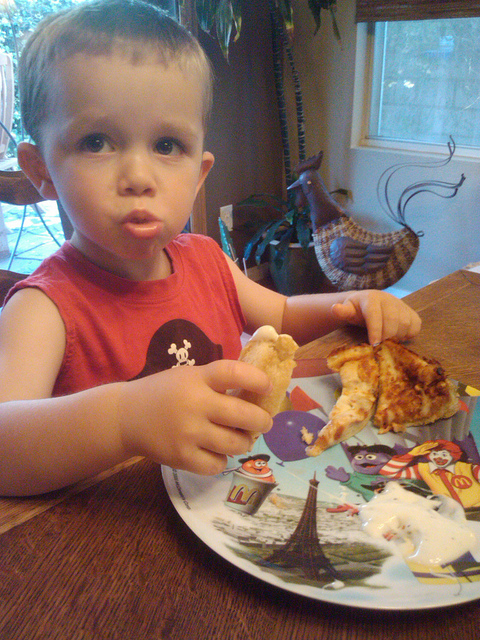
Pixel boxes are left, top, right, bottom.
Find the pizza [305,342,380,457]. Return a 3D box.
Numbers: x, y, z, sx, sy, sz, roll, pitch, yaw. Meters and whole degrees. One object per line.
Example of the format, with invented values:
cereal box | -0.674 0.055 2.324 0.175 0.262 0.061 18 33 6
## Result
pizza | 0.127 0.090 0.582 0.073 0.038 0.170 7 38 23
